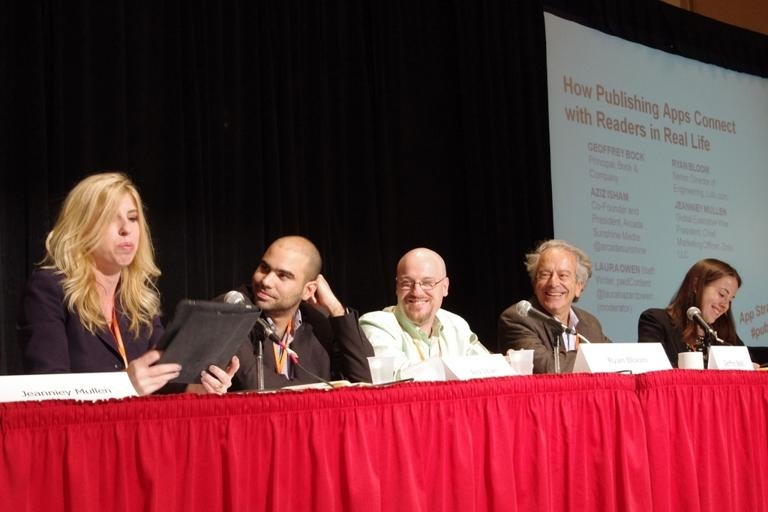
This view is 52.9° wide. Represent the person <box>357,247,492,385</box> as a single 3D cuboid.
[{"bbox_3d":[0.216,0.376,4.870,1.104,0.817,0.506,3,-10,-44],"label":"person"}]

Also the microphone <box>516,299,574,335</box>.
[{"bbox_3d":[0.988,0.376,4.766,0.273,0.087,0.076,31,-23,8],"label":"microphone"}]

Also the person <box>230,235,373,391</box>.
[{"bbox_3d":[-0.446,0.434,4.576,0.773,1.411,0.809,-1,-25,-1],"label":"person"}]

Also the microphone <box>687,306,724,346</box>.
[{"bbox_3d":[2.237,0.495,5.380,0.088,0.092,0.390,31,17,-38],"label":"microphone"}]

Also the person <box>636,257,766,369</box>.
[{"bbox_3d":[2.380,0.433,6.117,0.653,0.843,0.863,-2,-6,39],"label":"person"}]

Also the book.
[{"bbox_3d":[-0.797,0.394,3.476,0.424,0.459,0.043,13,24,-45],"label":"book"}]
